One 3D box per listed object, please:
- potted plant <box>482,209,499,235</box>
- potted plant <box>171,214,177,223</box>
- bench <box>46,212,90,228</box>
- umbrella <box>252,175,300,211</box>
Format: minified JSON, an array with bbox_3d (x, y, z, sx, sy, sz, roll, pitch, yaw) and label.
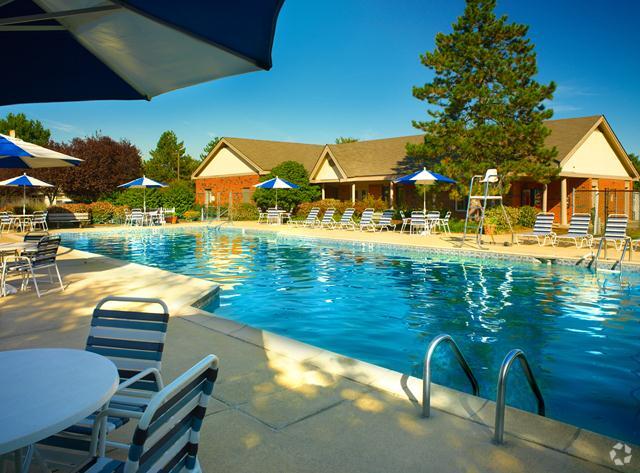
[{"bbox_3d":[8.712,-0.748,21.222,0.736,1.286,1.798,4,6,26],"label":"potted plant"},{"bbox_3d":[-11.282,-1.308,32.358,0.568,0.445,0.591,-1,-11,-9],"label":"potted plant"},{"bbox_3d":[-16.152,-1.058,26.749,1.220,0.934,2.610,3,6,15],"label":"bench"},{"bbox_3d":[-3.174,-3.351,31.807,2.457,2.472,4.132,1,6,-4],"label":"umbrella"}]
